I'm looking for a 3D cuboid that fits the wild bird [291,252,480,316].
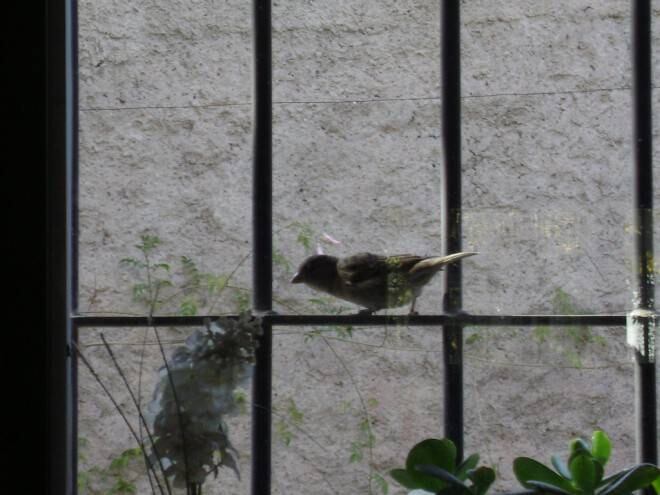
[{"bbox_3d":[0.095,0.078,4.140,0.473,0.134,0.159,-9,89,13],"label":"wild bird"}]
